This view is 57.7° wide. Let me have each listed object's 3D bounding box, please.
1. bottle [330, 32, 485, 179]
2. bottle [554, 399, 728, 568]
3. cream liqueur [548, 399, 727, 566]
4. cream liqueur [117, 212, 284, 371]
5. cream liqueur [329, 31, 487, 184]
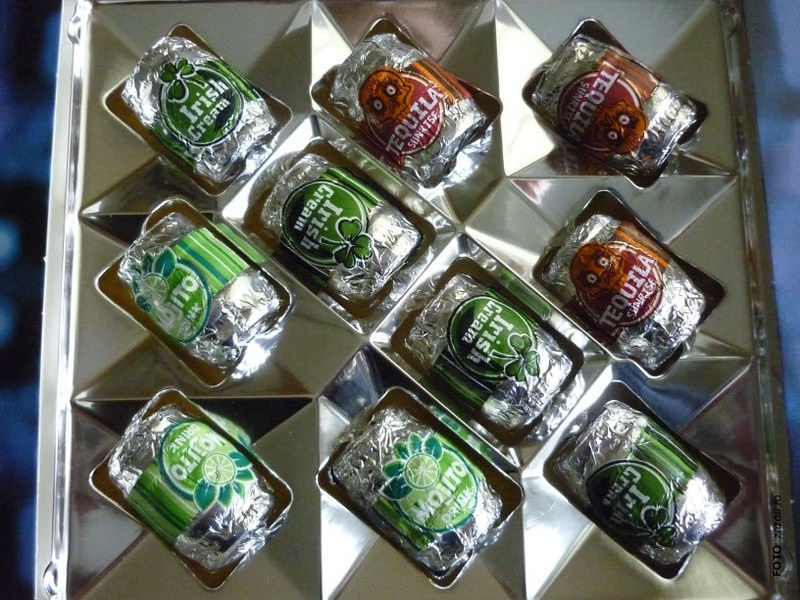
[{"bbox_3d":[0.019,-0.473,1.822,0.273,0.188,0.172,41,18,2],"label":"bottle"},{"bbox_3d":[0.581,0.460,1.734,0.271,0.191,0.159,41,4,18],"label":"bottle"},{"bbox_3d":[0.630,0.433,1.827,0.252,0.264,0.443,-11,-51,29],"label":"cream liqueur"},{"bbox_3d":[-0.491,-0.023,1.782,0.388,0.302,0.123,31,-37,6],"label":"cream liqueur"},{"bbox_3d":[0.021,-0.467,1.825,0.282,0.187,0.178,41,23,2],"label":"cream liqueur"}]
